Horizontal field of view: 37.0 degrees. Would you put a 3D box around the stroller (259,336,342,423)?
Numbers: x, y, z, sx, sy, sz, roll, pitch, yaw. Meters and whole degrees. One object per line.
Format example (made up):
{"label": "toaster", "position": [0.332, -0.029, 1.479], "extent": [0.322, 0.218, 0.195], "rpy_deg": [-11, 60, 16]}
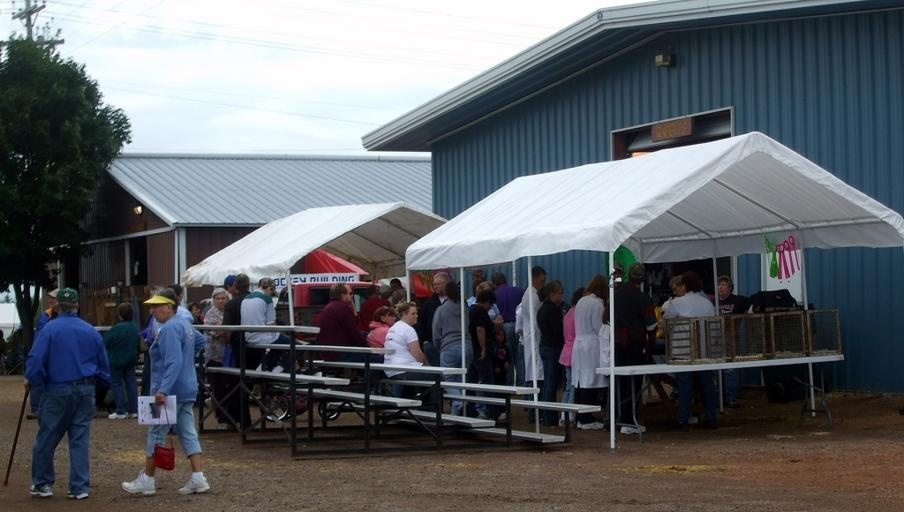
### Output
{"label": "stroller", "position": [-3.546, 2.904, 29.182], "extent": [1.686, 2.192, 1.070], "rpy_deg": [0, 0, -6]}

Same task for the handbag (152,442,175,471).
{"label": "handbag", "position": [-5.291, 3.697, 24.672], "extent": [0.373, 0.435, 0.261], "rpy_deg": [1, -8, -9]}

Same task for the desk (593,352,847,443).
{"label": "desk", "position": [5.051, 3.104, 26.901], "extent": [4.019, 2.021, 3.338], "rpy_deg": [0, -1, -15]}

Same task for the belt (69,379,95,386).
{"label": "belt", "position": [-6.797, 2.356, 24.986], "extent": [0.167, 0.152, 0.512], "rpy_deg": [-6, -9, 35]}
